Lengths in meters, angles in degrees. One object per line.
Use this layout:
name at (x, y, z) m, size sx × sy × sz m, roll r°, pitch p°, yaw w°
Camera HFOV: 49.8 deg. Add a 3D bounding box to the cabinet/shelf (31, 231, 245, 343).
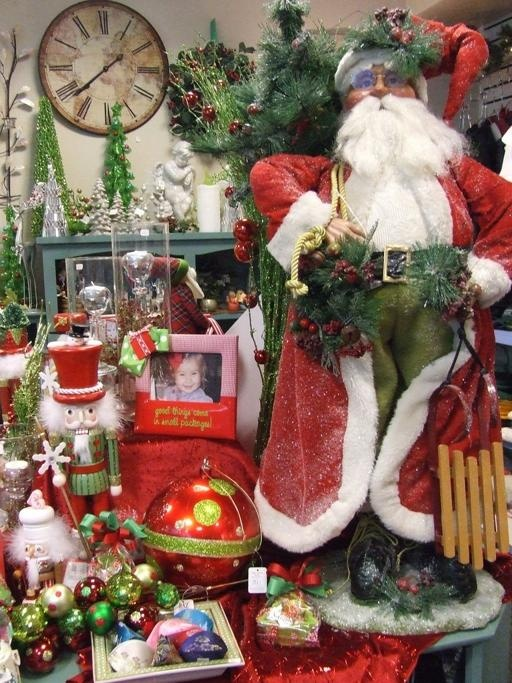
cabinet/shelf at (-0.436, -0.268, 2.612) m, size 1.081 × 0.484 × 0.595 m, roll -7°, pitch 8°, yaw -23°
